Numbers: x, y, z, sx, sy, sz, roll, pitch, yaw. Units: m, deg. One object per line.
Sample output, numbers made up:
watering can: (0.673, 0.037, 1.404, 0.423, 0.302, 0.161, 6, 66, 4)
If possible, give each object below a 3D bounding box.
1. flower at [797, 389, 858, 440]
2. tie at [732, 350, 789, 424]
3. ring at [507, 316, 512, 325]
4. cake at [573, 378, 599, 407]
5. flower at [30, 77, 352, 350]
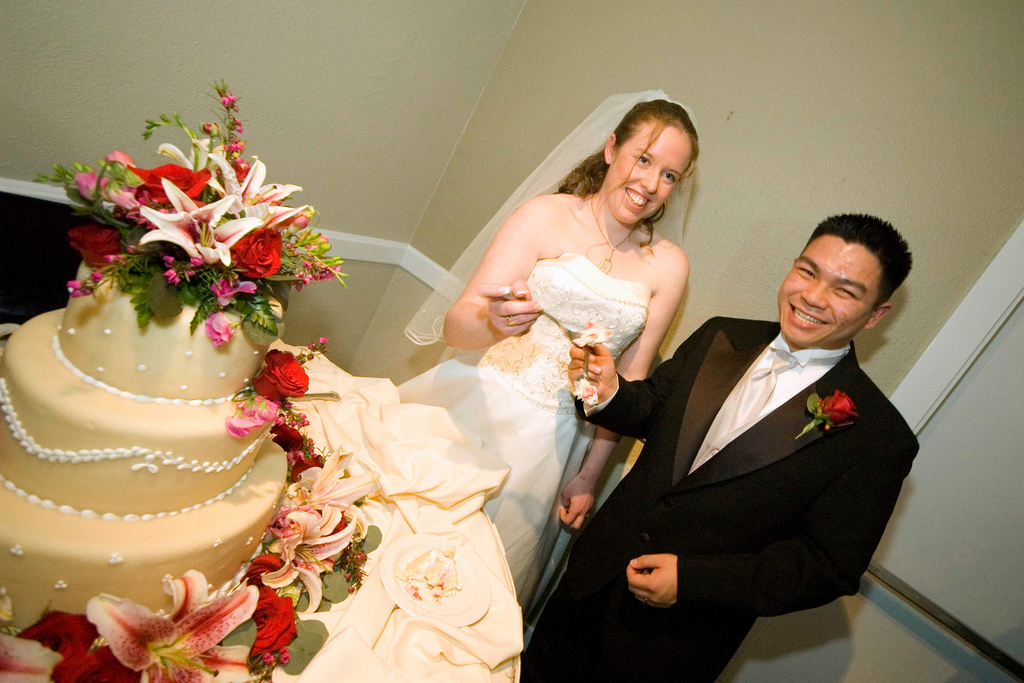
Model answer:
flower: (1.300, 0.289, 2.849, 0.123, 0.241, 0.153, 43, 10, -44)
tie: (1.079, 0.220, 3.085, 0.136, 0.420, 0.113, 31, -7, 16)
ring: (-0.014, -0.087, 2.950, 0.019, 0.042, 0.024, 1, 42, 7)
cake: (0.318, 0.223, 3.056, 0.099, 0.115, 0.061, -12, -8, -28)
flower: (-0.992, -0.391, 2.439, 0.875, 0.490, 1.009, 25, -16, -4)
